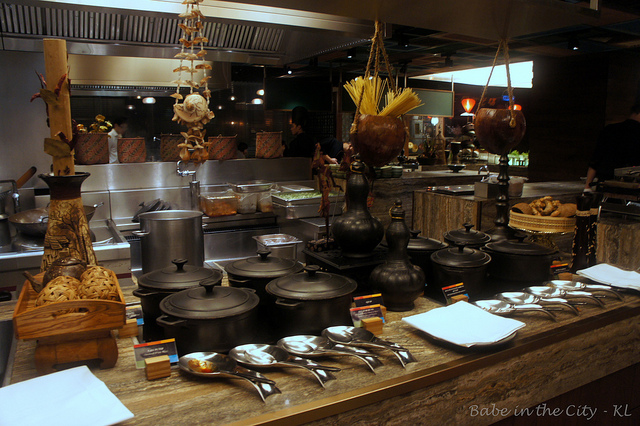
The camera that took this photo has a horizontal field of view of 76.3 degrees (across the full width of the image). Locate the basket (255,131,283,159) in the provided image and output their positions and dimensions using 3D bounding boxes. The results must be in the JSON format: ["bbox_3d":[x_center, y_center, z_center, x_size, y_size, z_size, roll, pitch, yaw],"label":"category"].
[{"bbox_3d":[-0.608,-0.796,4.829,0.350,0.286,0.326,-1,11,-20],"label":"basket"}]

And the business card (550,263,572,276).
[{"bbox_3d":[1.329,0.311,2.228,0.098,0.020,0.088,-5,18,11],"label":"business card"}]

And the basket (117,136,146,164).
[{"bbox_3d":[-1.938,-0.631,4.123,0.267,0.257,0.206,-7,11,-23],"label":"basket"}]

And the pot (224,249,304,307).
[{"bbox_3d":[-0.247,0.294,1.871,0.368,0.250,0.337,-2,11,0],"label":"pot"}]

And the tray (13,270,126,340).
[{"bbox_3d":[-0.900,0.350,1.443,0.288,0.078,0.279,-2,10,-19],"label":"tray"}]

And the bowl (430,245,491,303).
[{"bbox_3d":[0.667,0.253,1.940,0.327,0.196,0.274,0,3,10],"label":"bowl"}]

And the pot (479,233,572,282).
[{"bbox_3d":[1.007,0.228,2.071,0.358,0.214,0.165,3,12,26],"label":"pot"}]

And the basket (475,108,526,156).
[{"bbox_3d":[1.035,-0.464,2.339,0.260,0.278,0.207,2,12,24],"label":"basket"}]

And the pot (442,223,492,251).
[{"bbox_3d":[0.807,0.129,2.193,0.191,0.084,0.164,-1,7,-16],"label":"pot"}]

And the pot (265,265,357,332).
[{"bbox_3d":[-0.039,0.333,1.729,0.359,0.193,0.428,4,10,25],"label":"pot"}]

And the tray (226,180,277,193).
[{"bbox_3d":[-0.747,-0.279,4.324,0.489,0.086,0.579,-5,10,-16],"label":"tray"}]

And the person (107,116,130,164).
[{"bbox_3d":[-3.154,-1.147,6.291,0.316,0.654,0.934,-7,12,-24],"label":"person"}]

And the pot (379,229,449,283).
[{"bbox_3d":[0.506,0.215,2.113,0.330,0.197,0.304,0,-3,0],"label":"pot"}]

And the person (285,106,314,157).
[{"bbox_3d":[-0.299,-1.135,5.570,0.385,0.696,0.903,-3,10,-1],"label":"person"}]

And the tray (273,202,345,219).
[{"bbox_3d":[-0.129,-0.013,3.991,0.690,0.168,0.505,-3,10,-5],"label":"tray"}]

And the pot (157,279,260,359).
[{"bbox_3d":[-0.428,0.403,1.510,0.291,0.202,0.410,13,12,42],"label":"pot"}]

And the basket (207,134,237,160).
[{"bbox_3d":[-1.132,-0.755,4.548,0.377,0.313,0.367,-1,14,-15],"label":"basket"}]

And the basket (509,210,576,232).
[{"bbox_3d":[1.361,0.059,2.544,0.382,0.099,0.190,7,13,42],"label":"basket"}]

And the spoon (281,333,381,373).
[{"bbox_3d":[0.029,0.502,1.512,0.287,0.043,0.140,11,4,22],"label":"spoon"}]

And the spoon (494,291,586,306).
[{"bbox_3d":[0.967,0.394,1.848,0.300,0.027,0.164,2,11,23],"label":"spoon"}]

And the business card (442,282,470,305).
[{"bbox_3d":[0.634,0.369,1.900,0.118,0.085,0.057,-8,12,-31],"label":"business card"}]

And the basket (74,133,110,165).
[{"bbox_3d":[-2.206,-0.614,4.003,0.395,0.314,0.206,-1,-3,7],"label":"basket"}]

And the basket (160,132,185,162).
[{"bbox_3d":[-1.553,-0.670,4.226,0.241,0.274,0.246,-6,11,-19],"label":"basket"}]
